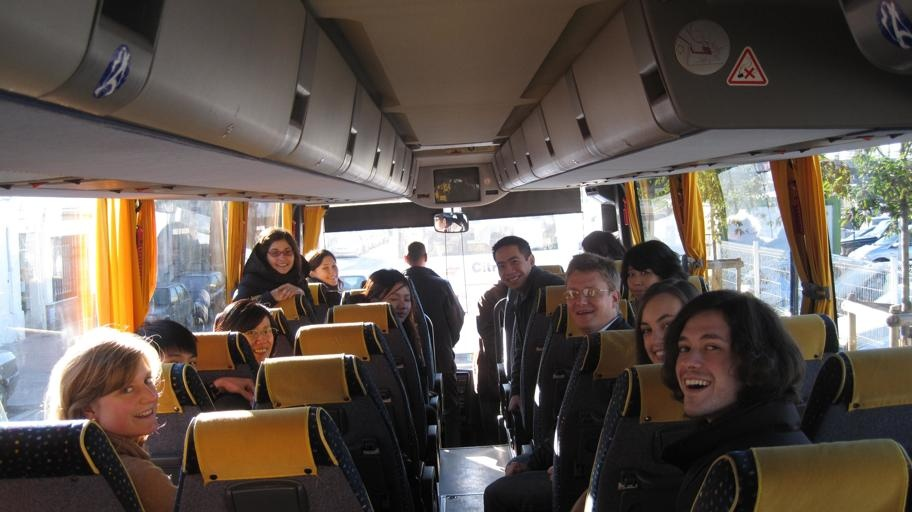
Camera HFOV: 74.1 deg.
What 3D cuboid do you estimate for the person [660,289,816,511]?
[{"bbox_3d":[1.345,0.732,2.953,0.592,1.014,0.732,15,-34,8],"label":"person"}]

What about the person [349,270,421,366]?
[{"bbox_3d":[-0.618,0.526,6.122,0.704,0.951,0.837,-7,-4,7],"label":"person"}]

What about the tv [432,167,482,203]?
[{"bbox_3d":[0.003,-1.203,10.392,0.767,0.638,0.191,0,0,-6],"label":"tv"}]

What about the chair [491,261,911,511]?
[{"bbox_3d":[1.227,0.653,3.383,1.080,1.364,1.444,5,-7,-11],"label":"chair"}]

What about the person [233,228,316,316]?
[{"bbox_3d":[-2.051,0.199,6.730,0.924,0.783,0.540,6,-35,-30],"label":"person"}]
